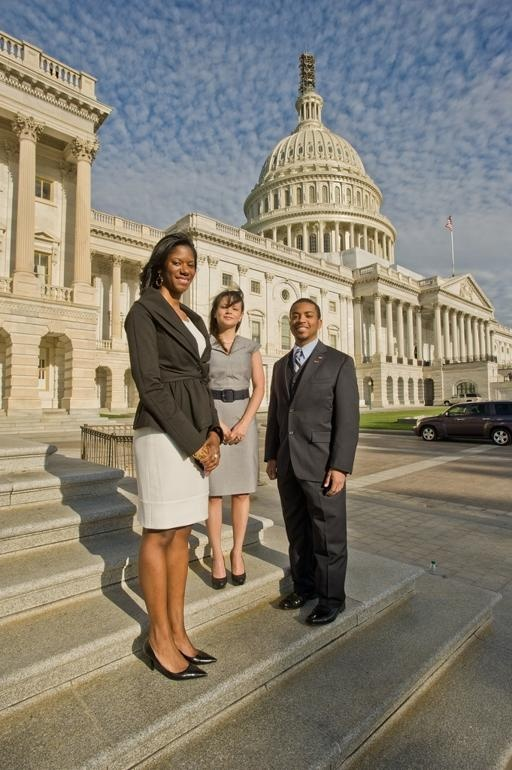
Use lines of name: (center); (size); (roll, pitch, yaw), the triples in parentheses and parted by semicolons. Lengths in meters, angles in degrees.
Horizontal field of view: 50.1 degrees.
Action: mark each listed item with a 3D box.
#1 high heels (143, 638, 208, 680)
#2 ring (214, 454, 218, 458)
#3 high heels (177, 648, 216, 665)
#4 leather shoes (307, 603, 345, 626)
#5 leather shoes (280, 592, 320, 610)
high heels: (-0.429, 1.422, 2.791); (0.365, 0.155, 0.123); (4, -8, 20)
ring: (-0.205, 0.389, 2.908); (0.012, 0.020, 0.020); (-5, -8, 28)
high heels: (-0.304, 1.394, 2.831); (0.214, 0.051, 0.066); (8, 3, 32)
leather shoes: (0.432, 1.414, 3.322); (0.085, 0.097, 0.247); (-16, -22, 42)
leather shoes: (0.269, 1.433, 3.571); (0.083, 0.065, 0.225); (-10, -22, 39)
